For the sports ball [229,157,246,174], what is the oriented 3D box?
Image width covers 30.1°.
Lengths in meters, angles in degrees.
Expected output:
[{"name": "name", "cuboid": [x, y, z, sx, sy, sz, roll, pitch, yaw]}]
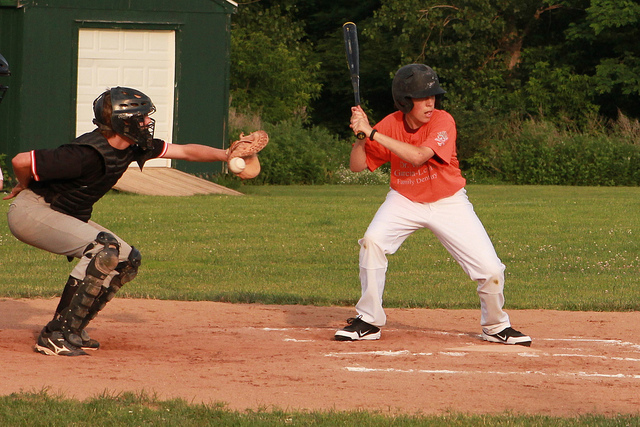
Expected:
[{"name": "sports ball", "cuboid": [-1.220, -0.656, 17.242, 0.229, 0.222, 0.213, 18, -18, 6]}]
